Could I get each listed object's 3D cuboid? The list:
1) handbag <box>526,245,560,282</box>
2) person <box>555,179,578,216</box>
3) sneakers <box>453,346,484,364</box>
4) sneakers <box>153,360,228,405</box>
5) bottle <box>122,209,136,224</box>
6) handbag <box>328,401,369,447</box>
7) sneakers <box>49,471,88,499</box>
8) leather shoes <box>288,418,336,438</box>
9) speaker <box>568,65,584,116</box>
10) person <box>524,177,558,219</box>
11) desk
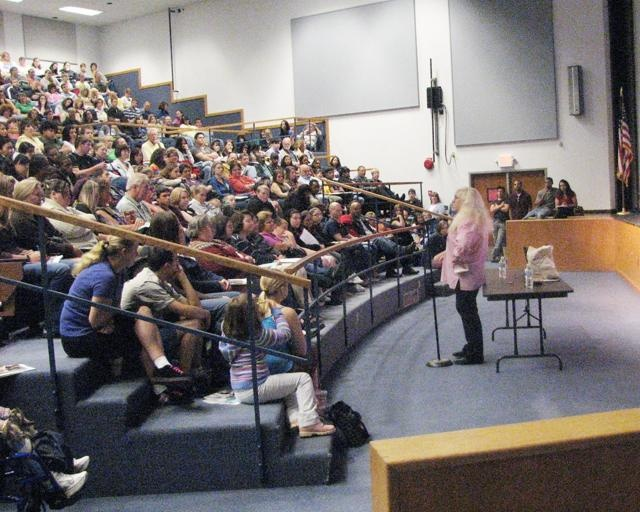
[{"bbox_3d":[2.365,0.074,5.886,0.317,0.443,0.138,-2,-22,23],"label":"handbag"},{"bbox_3d":[4.951,-1.181,11.155,0.392,0.695,1.709,0,7,23],"label":"person"},{"bbox_3d":[1.398,0.948,5.201,0.171,0.148,0.221,1,-3,5],"label":"sneakers"},{"bbox_3d":[-0.862,0.814,3.468,0.280,0.146,0.362,-10,-13,11],"label":"sneakers"},{"bbox_3d":[-1.782,-0.371,5.215,0.132,0.155,0.129,-7,7,-37],"label":"bottle"},{"bbox_3d":[0.181,1.107,3.602,0.186,0.118,0.298,-9,21,-34],"label":"handbag"},{"bbox_3d":[-1.217,1.106,2.680,0.188,0.091,0.063,-1,8,-24],"label":"sneakers"},{"bbox_3d":[-0.028,1.073,3.457,0.253,0.120,0.104,-2,2,-6],"label":"leather shoes"},{"bbox_3d":[6.151,-3.973,13.313,0.355,1.189,0.204,0,7,25],"label":"speaker"},{"bbox_3d":[4.795,-1.267,11.921,0.611,0.825,0.844,1,8,34],"label":"person"},{"bbox_3d":[2.029,0.619,5.408,0.520,0.543,1.121,12,-6,23],"label":"desk"}]
